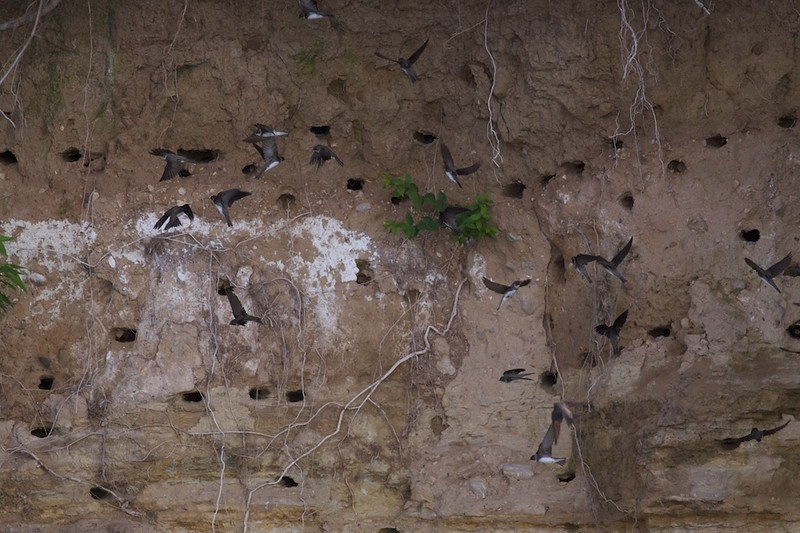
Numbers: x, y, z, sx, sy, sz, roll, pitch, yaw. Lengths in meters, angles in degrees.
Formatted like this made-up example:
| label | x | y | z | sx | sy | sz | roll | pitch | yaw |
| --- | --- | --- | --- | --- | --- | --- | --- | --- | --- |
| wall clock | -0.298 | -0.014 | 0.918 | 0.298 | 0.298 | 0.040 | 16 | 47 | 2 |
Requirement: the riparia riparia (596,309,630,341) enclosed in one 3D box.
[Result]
| label | x | y | z | sx | sy | sz | roll | pitch | yaw |
| --- | --- | --- | --- | --- | --- | --- | --- | --- | --- |
| riparia riparia | 1.806 | 0.516 | 16.229 | 0.289 | 0.284 | 0.524 | 0 | -13 | 6 |

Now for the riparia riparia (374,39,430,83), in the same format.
| label | x | y | z | sx | sy | sz | roll | pitch | yaw |
| --- | --- | --- | --- | --- | --- | --- | --- | --- | --- |
| riparia riparia | 0.043 | -1.721 | 16.270 | 0.393 | 0.235 | 0.297 | -5 | -6 | 18 |

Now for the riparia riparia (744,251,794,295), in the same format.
| label | x | y | z | sx | sy | sz | roll | pitch | yaw |
| --- | --- | --- | --- | --- | --- | --- | --- | --- | --- |
| riparia riparia | 3.075 | 0.046 | 15.881 | 0.382 | 0.330 | 0.388 | -1 | -13 | 11 |

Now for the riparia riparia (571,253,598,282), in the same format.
| label | x | y | z | sx | sy | sz | roll | pitch | yaw |
| --- | --- | --- | --- | --- | --- | --- | --- | --- | --- |
| riparia riparia | 1.580 | 0.037 | 16.316 | 0.202 | 0.240 | 0.465 | 1 | -13 | 4 |

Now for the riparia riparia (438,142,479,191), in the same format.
| label | x | y | z | sx | sy | sz | roll | pitch | yaw |
| --- | --- | --- | --- | --- | --- | --- | --- | --- | --- |
| riparia riparia | 0.482 | -0.804 | 16.374 | 0.321 | 0.197 | 0.235 | 8 | 16 | 7 |

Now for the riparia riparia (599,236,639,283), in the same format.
| label | x | y | z | sx | sy | sz | roll | pitch | yaw |
| --- | --- | --- | --- | --- | --- | --- | --- | --- | --- |
| riparia riparia | 1.829 | -0.040 | 16.160 | 0.293 | 0.406 | 0.504 | 0 | -13 | 7 |

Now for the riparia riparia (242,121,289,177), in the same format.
| label | x | y | z | sx | sy | sz | roll | pitch | yaw |
| --- | --- | --- | --- | --- | --- | --- | --- | --- | --- |
| riparia riparia | -1.142 | -0.944 | 16.494 | 0.287 | 0.581 | 0.591 | 26 | -1 | -9 |

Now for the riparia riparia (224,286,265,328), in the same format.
| label | x | y | z | sx | sy | sz | roll | pitch | yaw |
| --- | --- | --- | --- | --- | --- | --- | --- | --- | --- |
| riparia riparia | -1.361 | 0.332 | 16.391 | 0.398 | 0.425 | 0.459 | 3 | -13 | -8 |

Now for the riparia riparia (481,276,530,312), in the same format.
| label | x | y | z | sx | sy | sz | roll | pitch | yaw |
| --- | --- | --- | --- | --- | --- | --- | --- | --- | --- |
| riparia riparia | 0.926 | 0.228 | 16.560 | 0.435 | 0.335 | 0.623 | 1 | -13 | 3 |
